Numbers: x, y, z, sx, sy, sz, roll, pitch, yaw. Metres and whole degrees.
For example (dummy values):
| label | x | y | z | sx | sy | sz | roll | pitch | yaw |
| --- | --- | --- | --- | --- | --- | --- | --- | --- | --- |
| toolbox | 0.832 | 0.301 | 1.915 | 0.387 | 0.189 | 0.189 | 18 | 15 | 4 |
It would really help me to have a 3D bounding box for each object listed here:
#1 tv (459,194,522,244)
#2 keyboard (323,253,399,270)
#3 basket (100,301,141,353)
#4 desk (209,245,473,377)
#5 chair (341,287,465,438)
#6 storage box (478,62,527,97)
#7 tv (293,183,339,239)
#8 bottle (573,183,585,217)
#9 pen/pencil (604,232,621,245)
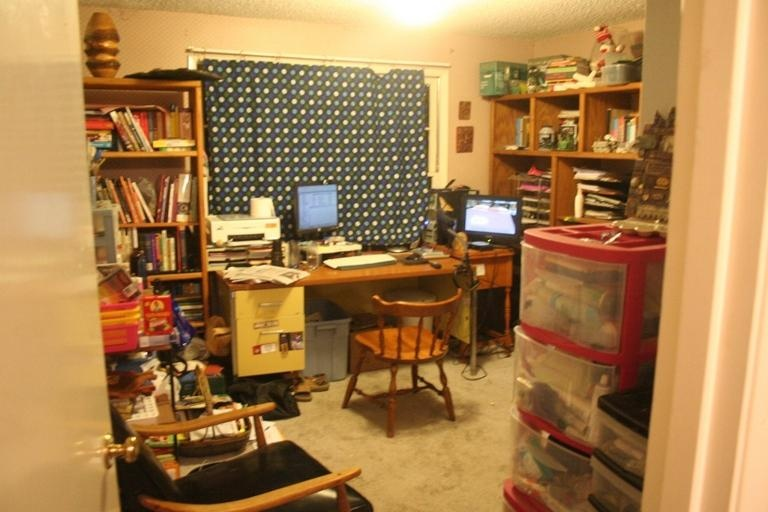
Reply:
| label | x | y | z | sx | sy | sz | roll | pitch | yaw |
| --- | --- | --- | --- | --- | --- | --- | --- | --- | --- |
| tv | 0.774 | -0.289 | 4.766 | 0.515 | 0.311 | 0.160 | 3 | -2 | -20 |
| keyboard | -0.152 | 0.043 | 4.247 | 0.352 | 0.028 | 0.175 | -4 | 10 | -28 |
| basket | -0.990 | 0.269 | 2.440 | 0.248 | 0.176 | 0.316 | -1 | 0 | -23 |
| desk | -0.304 | 0.376 | 4.061 | 1.174 | 0.393 | 0.399 | -4 | 11 | -25 |
| chair | 0.133 | 0.606 | 3.759 | 0.881 | 0.629 | 0.806 | 1 | 0 | -30 |
| storage box | 1.047 | -1.473 | 5.228 | 0.487 | 0.240 | 0.247 | -5 | 16 | -29 |
| tv | -0.489 | -0.329 | 4.396 | 0.476 | 0.359 | 0.055 | -10 | 20 | -40 |
| bottle | 1.439 | -0.403 | 4.559 | 0.062 | 0.246 | 0.180 | 0 | 15 | 16 |
| pen/pencil | 0.735 | -0.057 | 2.010 | 0.028 | 0.006 | 0.187 | -15 | 4 | 29 |
